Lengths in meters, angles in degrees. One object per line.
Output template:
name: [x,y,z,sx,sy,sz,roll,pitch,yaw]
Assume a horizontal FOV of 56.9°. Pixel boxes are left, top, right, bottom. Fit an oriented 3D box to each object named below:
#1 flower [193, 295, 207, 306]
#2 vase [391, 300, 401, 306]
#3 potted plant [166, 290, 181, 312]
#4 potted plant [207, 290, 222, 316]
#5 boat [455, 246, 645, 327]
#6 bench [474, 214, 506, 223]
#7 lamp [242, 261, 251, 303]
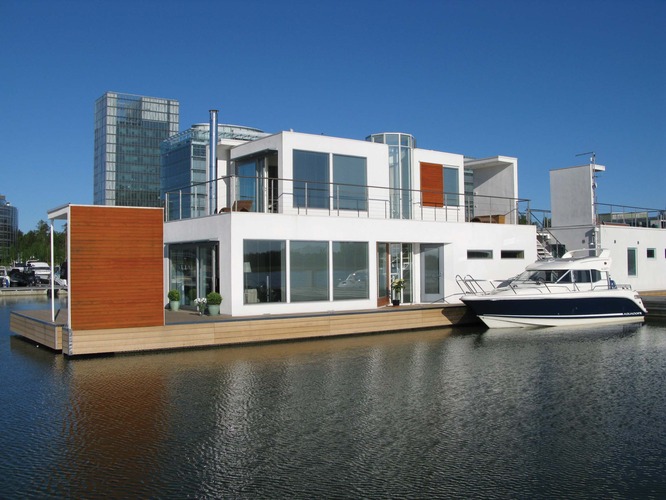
flower: [-3.993,1.537,18.519,0.436,0.220,0.426,-2,3,-29]
vase: [2.168,1.843,21.448,0.227,0.156,0.208,-1,-4,7]
potted plant: [-5.458,1.712,20.790,0.630,0.825,0.608,1,-4,4]
potted plant: [-3.555,1.553,17.901,0.605,0.685,0.591,3,-3,-38]
boat: [7.574,1.249,21.196,6.335,2.436,2.243,-2,4,-17]
bench: [6.092,-1.231,24.105,1.131,0.386,3.084,-1,-1,13]
lamp: [-2.482,0.936,17.747,0.248,0.953,0.056,-1,-1,-42]
